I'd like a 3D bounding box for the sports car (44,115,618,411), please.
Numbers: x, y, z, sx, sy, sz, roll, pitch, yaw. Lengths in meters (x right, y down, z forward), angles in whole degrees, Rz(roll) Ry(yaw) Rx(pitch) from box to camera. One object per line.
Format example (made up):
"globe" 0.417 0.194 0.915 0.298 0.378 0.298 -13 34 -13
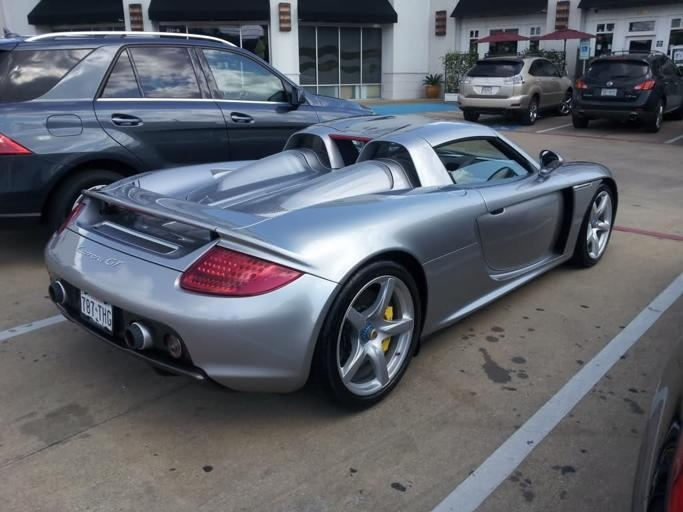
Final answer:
"sports car" 0.499 -0.139 3.378 4.066 0.991 2.020 -14 23 -37

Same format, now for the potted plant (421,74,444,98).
"potted plant" 5.418 -9.654 25.538 1.544 1.246 1.372 0 10 -5

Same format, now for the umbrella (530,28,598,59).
"umbrella" 10.876 -10.557 21.479 2.055 1.034 1.858 2 12 24

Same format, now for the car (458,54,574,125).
"car" 6.676 -6.240 16.719 2.580 1.671 4.823 15 28 42
